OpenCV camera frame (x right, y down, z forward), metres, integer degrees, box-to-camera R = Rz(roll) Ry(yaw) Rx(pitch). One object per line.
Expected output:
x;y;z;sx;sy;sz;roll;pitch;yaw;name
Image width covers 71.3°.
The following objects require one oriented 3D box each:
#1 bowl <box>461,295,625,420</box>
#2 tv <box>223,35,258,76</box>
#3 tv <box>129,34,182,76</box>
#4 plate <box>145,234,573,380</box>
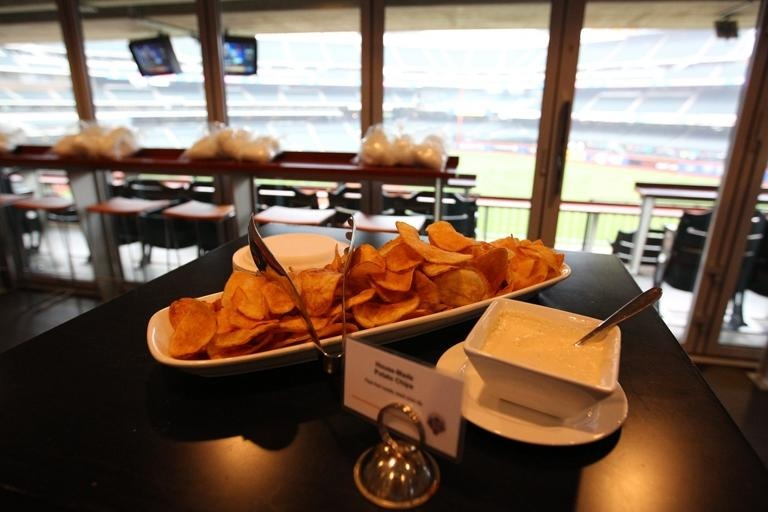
0.419;0.272;1.413;0.346;0.153;0.253;14;37;21;bowl
-0.992;-1.363;3.733;0.259;0.263;0.025;21;55;29;tv
-1.639;-1.430;3.834;0.439;0.279;0.055;10;23;24;tv
-0.042;0.121;1.535;1.125;0.150;0.458;-8;14;-21;plate
